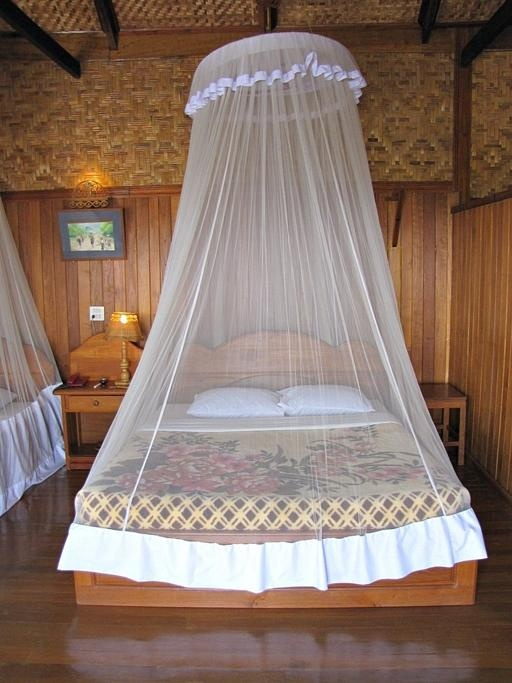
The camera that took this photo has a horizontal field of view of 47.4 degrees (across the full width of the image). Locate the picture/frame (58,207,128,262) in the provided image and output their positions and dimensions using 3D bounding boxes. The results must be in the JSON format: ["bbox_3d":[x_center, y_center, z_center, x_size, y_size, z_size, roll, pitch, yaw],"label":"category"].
[{"bbox_3d":[-1.125,-0.763,4.069,0.437,0.296,0.017,-1,16,3],"label":"picture/frame"}]

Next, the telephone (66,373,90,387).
[{"bbox_3d":[-1.223,0.274,4.007,0.104,0.024,0.105,-2,19,-10],"label":"telephone"}]

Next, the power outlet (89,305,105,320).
[{"bbox_3d":[-1.130,-0.210,4.166,0.119,0.113,0.015,1,6,-1],"label":"power outlet"}]
